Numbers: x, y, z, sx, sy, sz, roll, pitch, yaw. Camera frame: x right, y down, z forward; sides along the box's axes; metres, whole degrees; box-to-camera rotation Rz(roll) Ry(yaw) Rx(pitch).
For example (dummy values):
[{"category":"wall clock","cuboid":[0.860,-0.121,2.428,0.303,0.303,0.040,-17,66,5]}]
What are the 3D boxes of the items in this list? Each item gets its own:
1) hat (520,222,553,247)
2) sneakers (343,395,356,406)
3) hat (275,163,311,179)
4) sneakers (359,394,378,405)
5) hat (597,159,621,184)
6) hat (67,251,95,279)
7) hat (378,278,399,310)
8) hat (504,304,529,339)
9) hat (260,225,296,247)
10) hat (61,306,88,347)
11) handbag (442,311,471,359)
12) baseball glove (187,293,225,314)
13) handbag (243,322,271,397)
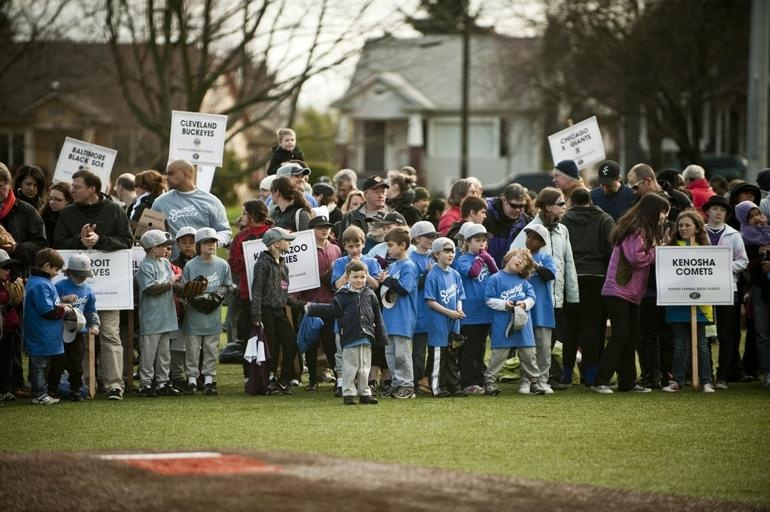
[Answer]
[{"category":"hat","cuboid":[2.708,-0.303,25.213,0.331,0.250,0.462,19,-8,32]},{"category":"sneakers","cuboid":[-0.609,2.487,24.511,0.250,0.186,0.093,-3,-1,6]},{"category":"hat","cuboid":[-1.717,-1.522,26.361,0.424,0.174,0.303,-1,1,17]},{"category":"sneakers","cuboid":[-0.296,2.485,24.570,0.347,0.156,0.130,1,-1,1]},{"category":"hat","cuboid":[4.083,-1.516,26.006,0.298,0.261,0.446,11,35,26]},{"category":"hat","cuboid":[-5.213,0.188,24.496,0.303,0.268,0.447,8,10,-41]},{"category":"hat","cuboid":[0.045,0.708,24.813,0.282,0.415,0.319,-2,13,-23]},{"category":"hat","cuboid":[2.238,1.143,24.913,0.330,0.541,0.508,15,14,-28]},{"category":"hat","cuboid":[-1.890,-0.331,25.133,0.445,0.244,0.304,-11,11,-7]},{"category":"hat","cuboid":[-5.333,1.225,24.456,0.461,0.564,0.230,5,18,36]},{"category":"handbag","cuboid":[1.252,1.430,25.146,0.371,0.644,0.565,-2,-5,8]},{"category":"baseball glove","cuboid":[-3.133,0.857,25.046,0.590,0.350,0.239,-1,-5,-8]},{"category":"handbag","cuboid":[-2.238,1.845,25.050,0.435,1.188,0.534,-1,-5,-7]}]
